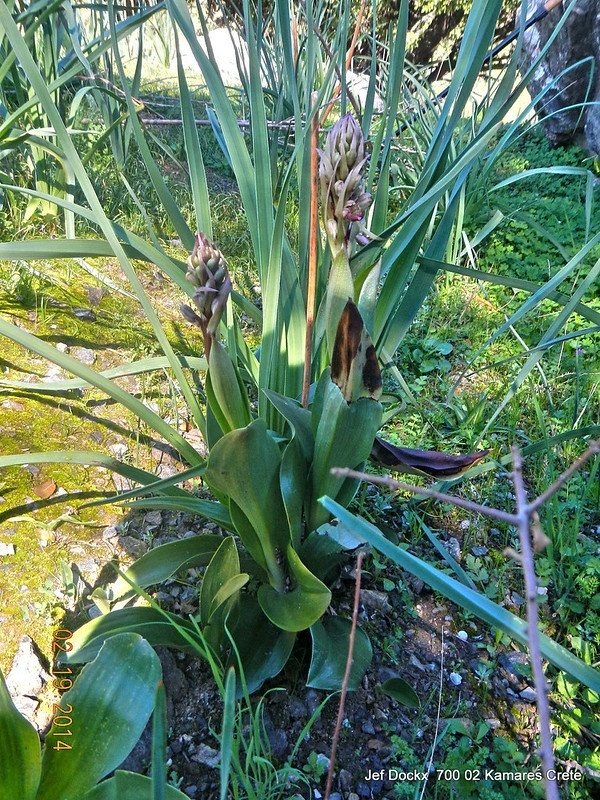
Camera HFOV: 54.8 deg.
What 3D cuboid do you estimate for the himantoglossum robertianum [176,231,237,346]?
[{"bbox_3d":[-0.140,-0.158,0.856,0.070,0.191,0.110,-3,29,-11],"label":"himantoglossum robertianum"}]
